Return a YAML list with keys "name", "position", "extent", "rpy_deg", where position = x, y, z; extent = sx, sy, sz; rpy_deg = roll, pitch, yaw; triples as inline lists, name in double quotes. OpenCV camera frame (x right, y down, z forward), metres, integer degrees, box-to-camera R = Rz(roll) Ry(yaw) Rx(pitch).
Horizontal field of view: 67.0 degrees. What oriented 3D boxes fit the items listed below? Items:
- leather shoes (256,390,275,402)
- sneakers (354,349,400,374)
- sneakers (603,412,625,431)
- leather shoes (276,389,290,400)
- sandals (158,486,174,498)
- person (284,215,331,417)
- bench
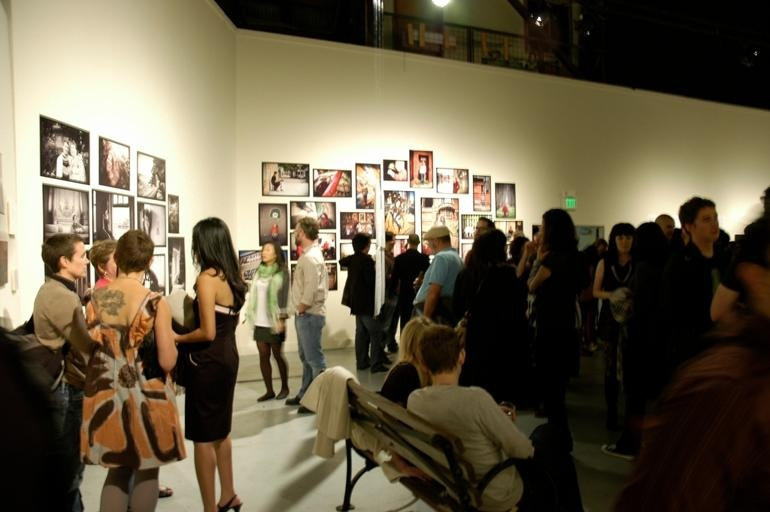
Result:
- name: "leather shoes"
  position: [-1.267, 1.538, 6.370]
  extent: [0.204, 0.148, 0.078]
  rpy_deg: [2, -3, -28]
- name: "sneakers"
  position: [0.012, 1.345, 7.418]
  extent: [0.625, 0.282, 0.201]
  rpy_deg: [-6, 6, -34]
- name: "sneakers"
  position: [2.106, 1.526, 5.372]
  extent: [0.156, 0.167, 0.172]
  rpy_deg: [1, 1, 10]
- name: "leather shoes"
  position: [-1.104, 1.536, 6.417]
  extent: [0.061, 0.109, 0.155]
  rpy_deg: [-34, -19, 31]
- name: "sandals"
  position: [-1.672, 1.823, 4.541]
  extent: [0.052, 0.061, 0.151]
  rpy_deg: [5, 3, 12]
- name: "person"
  position: [-0.819, 0.592, 6.161]
  extent: [0.483, 1.997, 0.417]
  rpy_deg: [0, 8, 21]
- name: "bench"
  position: [0.207, 0.794, 3.781]
  extent: [0.873, 0.961, 1.436]
  rpy_deg: [-10, 8, -30]
